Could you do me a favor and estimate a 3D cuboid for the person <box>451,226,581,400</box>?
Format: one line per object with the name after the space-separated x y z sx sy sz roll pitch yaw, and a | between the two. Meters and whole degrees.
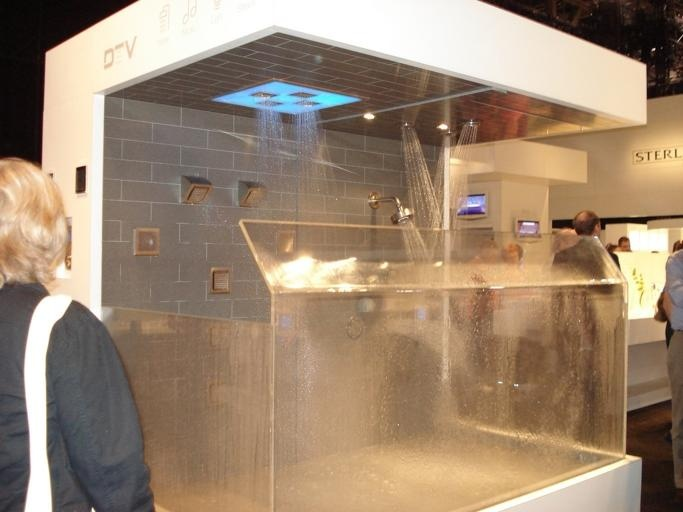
0.865 0.312 2.937 0.855 0.857 0.433 1 -3 -45 | person
